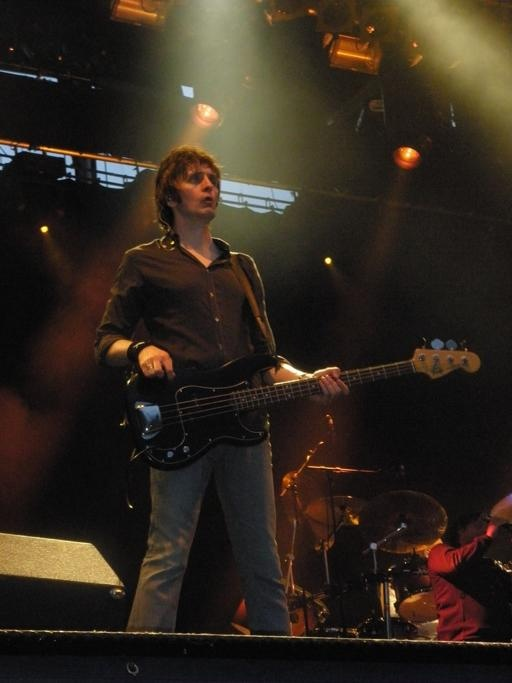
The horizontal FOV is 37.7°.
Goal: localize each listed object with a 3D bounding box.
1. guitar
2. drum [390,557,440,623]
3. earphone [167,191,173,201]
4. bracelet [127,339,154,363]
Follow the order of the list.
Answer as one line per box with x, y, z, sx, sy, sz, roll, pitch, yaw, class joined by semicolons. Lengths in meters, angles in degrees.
0.132;0.292;3.268;1.454;0.503;0.286;6;-12;-36;guitar
1.123;1.803;5.431;0.345;0.388;0.131;-9;5;-10;drum
-0.411;-0.683;3.523;0.026;0.042;0.006;-1;-7;12;earphone
-0.481;0.047;2.993;0.085;0.078;0.084;35;33;31;bracelet
